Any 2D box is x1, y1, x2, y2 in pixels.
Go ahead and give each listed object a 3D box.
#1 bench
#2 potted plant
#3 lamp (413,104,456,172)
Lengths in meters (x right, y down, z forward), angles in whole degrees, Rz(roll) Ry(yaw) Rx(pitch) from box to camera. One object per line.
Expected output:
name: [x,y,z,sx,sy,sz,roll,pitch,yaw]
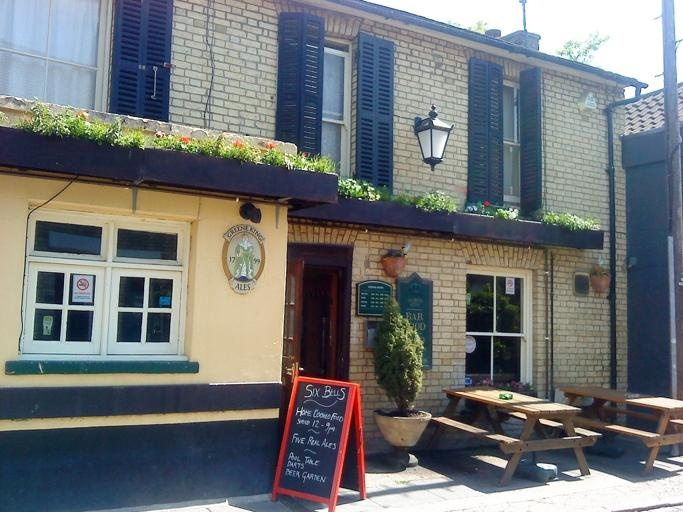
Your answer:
bench: [3.014,2.587,10.947,3.560,0.862,2.251,2,2,-42]
potted plant: [0.857,1.794,10.249,0.743,2.353,0.750,5,-6,-43]
lamp: [1.334,-1.734,10.709,0.481,0.934,0.429,-7,7,0]
